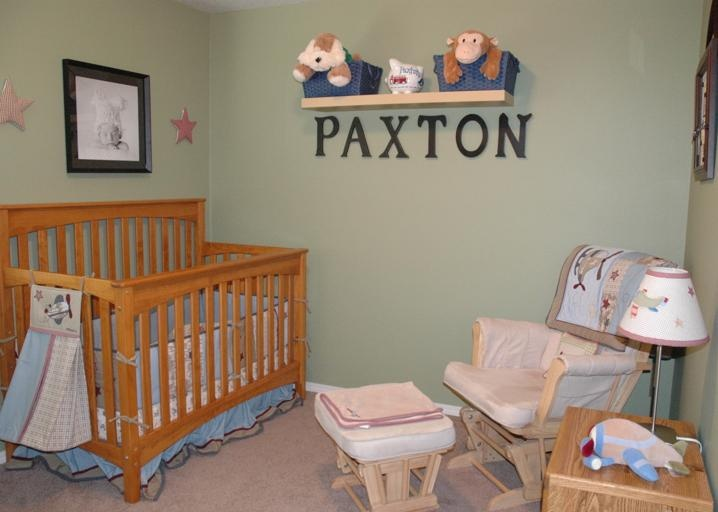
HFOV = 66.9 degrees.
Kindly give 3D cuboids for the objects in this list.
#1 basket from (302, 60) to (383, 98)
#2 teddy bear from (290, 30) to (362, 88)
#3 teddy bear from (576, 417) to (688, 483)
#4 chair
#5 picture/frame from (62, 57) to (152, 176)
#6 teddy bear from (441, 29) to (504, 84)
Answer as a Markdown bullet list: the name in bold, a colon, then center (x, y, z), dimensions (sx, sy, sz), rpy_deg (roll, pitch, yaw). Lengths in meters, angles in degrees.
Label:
- **basket**: center (-0.124, -1.110, 3.575), dimensions (0.377, 0.167, 0.298), rpy_deg (-2, 5, 22)
- **teddy bear**: center (-0.228, -1.230, 3.416), dimensions (0.287, 0.233, 0.422), rpy_deg (3, 18, 6)
- **teddy bear**: center (1.090, 0.757, 2.160), dimensions (0.383, 0.205, 0.418), rpy_deg (0, -6, 25)
- **chair**: center (1.164, 0.590, 3.466), dimensions (1.409, 1.550, 1.093), rpy_deg (-1, 4, -24)
- **picture/frame**: center (-1.630, -0.872, 3.505), dimensions (0.030, 0.652, 0.637), rpy_deg (10, 13, 24)
- **teddy bear**: center (0.675, -1.180, 3.247), dimensions (0.343, 0.287, 0.240), rpy_deg (5, 27, 21)
